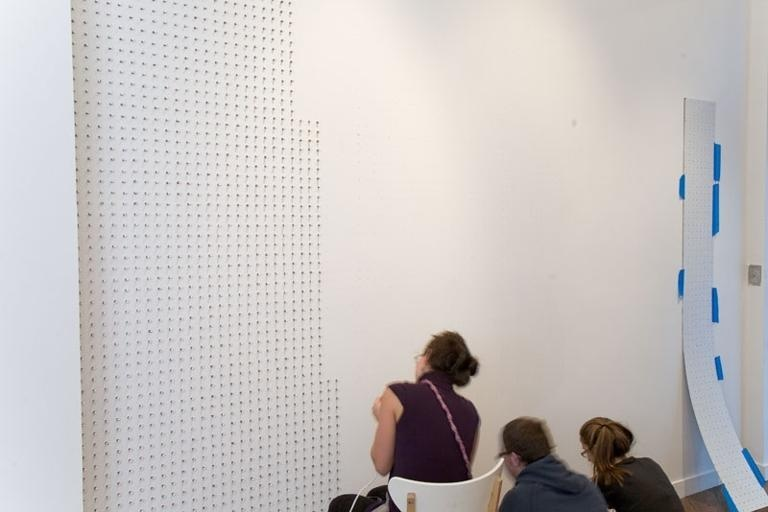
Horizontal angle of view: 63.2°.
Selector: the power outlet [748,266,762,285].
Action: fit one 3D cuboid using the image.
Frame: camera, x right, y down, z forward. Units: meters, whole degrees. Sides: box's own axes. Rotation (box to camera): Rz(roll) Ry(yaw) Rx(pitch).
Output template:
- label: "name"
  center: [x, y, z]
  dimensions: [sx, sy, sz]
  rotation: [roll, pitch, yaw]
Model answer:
- label: "power outlet"
  center: [2.999, 0.150, 5.046]
  dimensions: [0.013, 0.188, 0.125]
  rotation: [-2, 5, -29]
